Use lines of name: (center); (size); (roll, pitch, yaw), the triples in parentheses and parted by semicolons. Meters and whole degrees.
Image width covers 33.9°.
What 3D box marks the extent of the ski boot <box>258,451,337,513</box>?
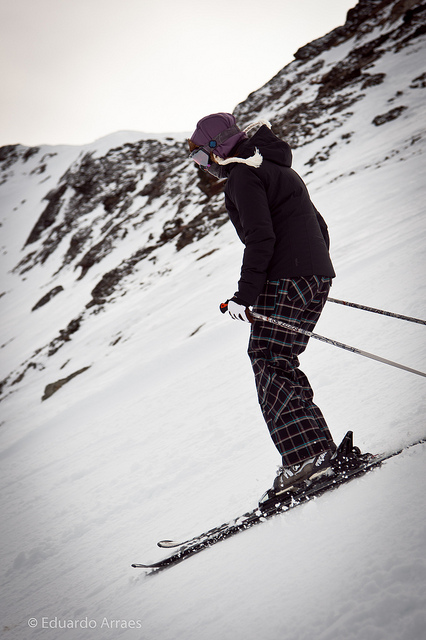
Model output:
ski boot: (0.500, 1.000, 4.306); (0.580, 0.253, 0.182); (-24, -10, 30)

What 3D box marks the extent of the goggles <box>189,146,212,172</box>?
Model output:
goggles: (-0.076, -1.050, 4.554); (0.063, 0.119, 0.152); (-59, 10, -26)

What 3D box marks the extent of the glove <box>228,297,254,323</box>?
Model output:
glove: (0.169, -0.047, 4.234); (0.126, 0.158, 0.056); (-24, 29, 30)

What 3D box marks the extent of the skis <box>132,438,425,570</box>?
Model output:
skis: (0.451, 1.185, 4.399); (2.170, 0.144, 0.226); (-21, 17, 26)

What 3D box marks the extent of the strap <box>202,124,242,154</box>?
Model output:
strap: (0.056, -1.169, 4.464); (0.222, 0.058, 0.151); (-28, 14, 5)

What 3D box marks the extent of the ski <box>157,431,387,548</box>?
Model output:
ski: (0.270, 1.295, 4.836); (2.077, 0.210, 0.205); (-37, -23, 34)
